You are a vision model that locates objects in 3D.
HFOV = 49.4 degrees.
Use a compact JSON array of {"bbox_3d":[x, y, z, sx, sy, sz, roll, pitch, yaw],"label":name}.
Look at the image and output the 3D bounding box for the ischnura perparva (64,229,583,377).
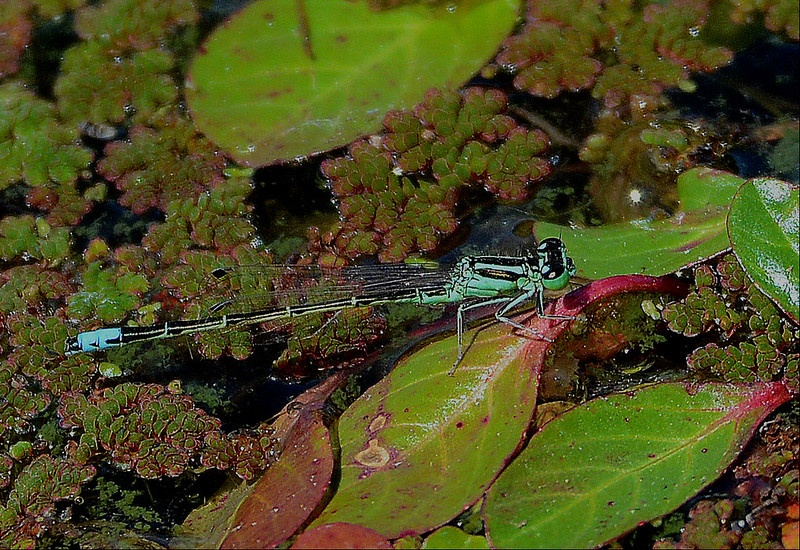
[{"bbox_3d":[-0.233,0.202,5.356,2.611,0.383,0.513,-7,61,6],"label":"ischnura perparva"}]
